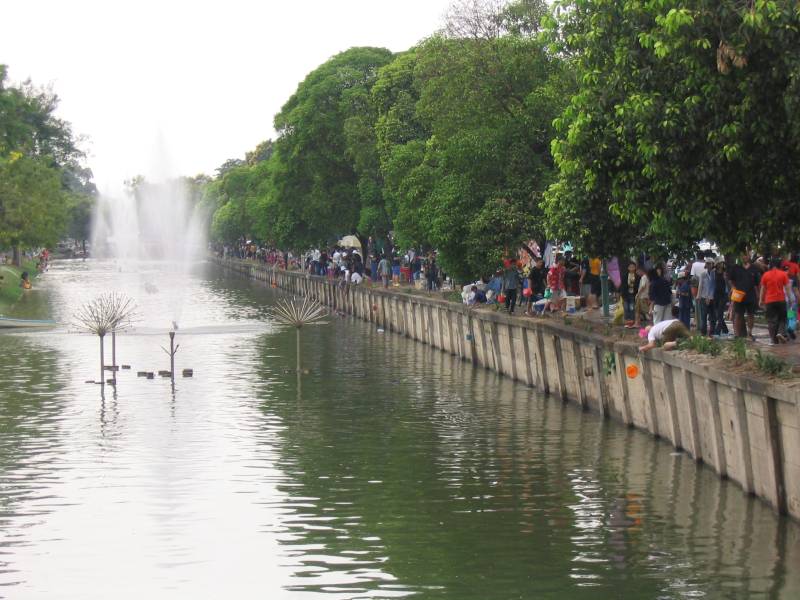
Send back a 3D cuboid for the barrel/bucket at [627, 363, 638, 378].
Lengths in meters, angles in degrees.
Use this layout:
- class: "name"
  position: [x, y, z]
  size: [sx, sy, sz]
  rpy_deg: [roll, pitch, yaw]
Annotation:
- class: "barrel/bucket"
  position: [5.343, 1.625, 26.187]
  size: [0.242, 0.240, 0.276]
  rpy_deg: [-19, -13, -38]
